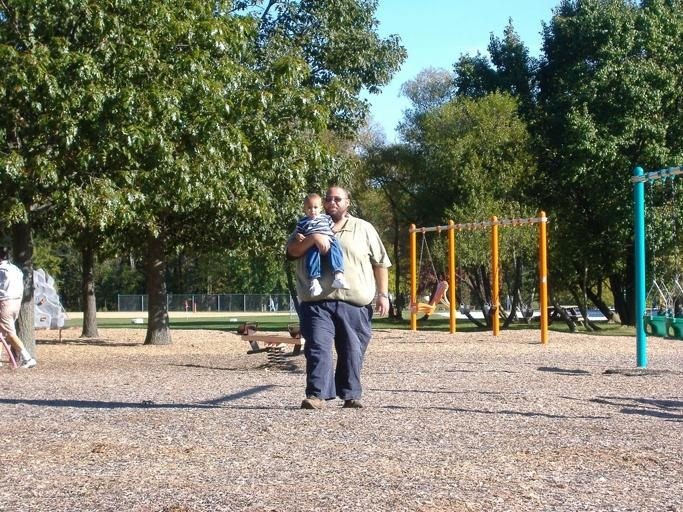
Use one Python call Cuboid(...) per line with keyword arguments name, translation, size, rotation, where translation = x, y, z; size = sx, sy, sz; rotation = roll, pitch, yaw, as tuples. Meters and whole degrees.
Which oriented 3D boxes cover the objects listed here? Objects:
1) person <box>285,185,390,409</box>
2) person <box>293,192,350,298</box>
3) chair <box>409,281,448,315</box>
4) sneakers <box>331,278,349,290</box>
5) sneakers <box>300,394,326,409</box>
Cuboid(name="person", translation=(-0.129, 0.605, 16.608), size=(1.456, 3.343, 1.059), rotation=(1, -1, -38))
Cuboid(name="person", translation=(-0.281, -0.193, 16.345), size=(0.771, 1.539, 0.421), rotation=(-1, -5, 13))
Cuboid(name="chair", translation=(2.271, 0.989, 29.261), size=(0.904, 0.870, 1.967), rotation=(0, -6, 4))
Cuboid(name="sneakers", translation=(-0.030, 0.378, 16.210), size=(0.255, 0.203, 0.107), rotation=(-1, 3, -8))
Cuboid(name="sneakers", translation=(-0.436, 2.114, 16.326), size=(0.300, 0.156, 0.153), rotation=(10, -5, -18))
